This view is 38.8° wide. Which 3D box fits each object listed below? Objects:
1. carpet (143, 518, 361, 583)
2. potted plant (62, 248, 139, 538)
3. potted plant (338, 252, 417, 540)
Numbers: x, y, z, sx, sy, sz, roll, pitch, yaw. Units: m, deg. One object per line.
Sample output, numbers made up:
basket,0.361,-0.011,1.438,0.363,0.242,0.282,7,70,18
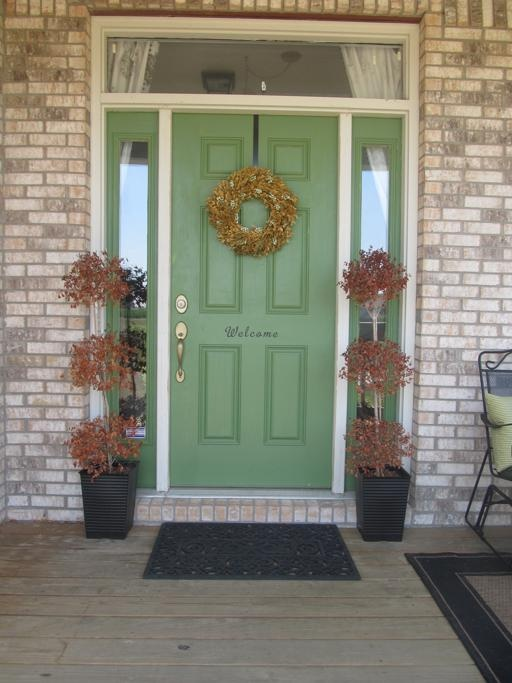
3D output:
carpet,-0.020,0.979,3.423,0.940,0.038,0.592,1,12,-1
potted plant,-0.764,0.237,3.637,0.377,1.368,0.623,-2,14,-12
potted plant,0.601,0.242,3.666,0.412,1.408,0.612,3,14,9
